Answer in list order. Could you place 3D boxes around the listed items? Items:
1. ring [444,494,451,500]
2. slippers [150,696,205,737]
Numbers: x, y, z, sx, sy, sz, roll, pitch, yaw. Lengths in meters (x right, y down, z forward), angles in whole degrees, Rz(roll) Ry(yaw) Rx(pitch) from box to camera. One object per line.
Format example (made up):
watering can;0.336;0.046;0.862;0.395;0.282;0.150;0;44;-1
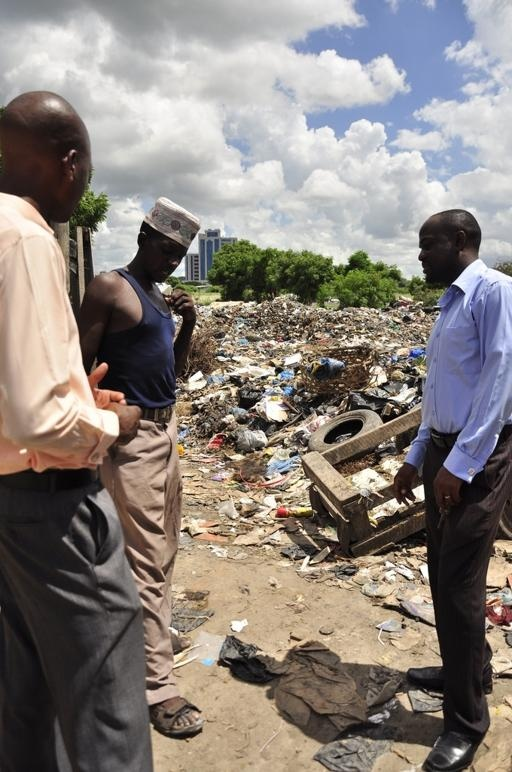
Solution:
ring;0.716;0.421;2.210;0.029;0.026;0.011;5;12;42
slippers;-0.327;1.411;2.509;0.139;0.075;0.220;7;-18;-39
